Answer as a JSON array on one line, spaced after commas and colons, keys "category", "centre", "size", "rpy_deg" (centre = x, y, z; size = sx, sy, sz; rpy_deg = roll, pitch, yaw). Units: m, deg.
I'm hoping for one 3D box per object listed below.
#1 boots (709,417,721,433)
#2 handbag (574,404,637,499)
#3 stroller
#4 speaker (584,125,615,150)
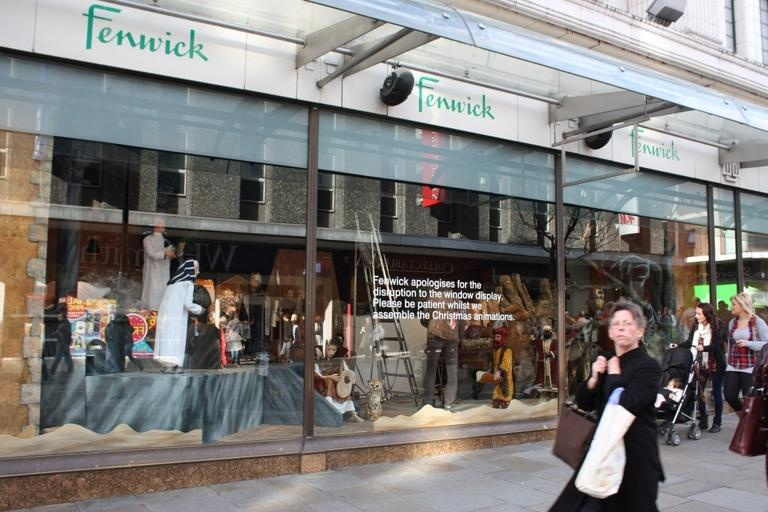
[{"category": "boots", "centre": [6.088, 3.107, 12.152], "size": [0.369, 0.247, 0.145], "rpy_deg": [16, -21, -39]}, {"category": "handbag", "centre": [2.112, 1.848, 6.364], "size": [0.519, 0.858, 0.220], "rpy_deg": [0, 2, -22]}, {"category": "stroller", "centre": [4.843, 2.293, 11.371], "size": [1.279, 1.550, 0.902], "rpy_deg": [-1, -1, -32]}, {"category": "speaker", "centre": [4.030, -2.162, 12.386], "size": [0.643, 0.353, 0.233], "rpy_deg": [0, 2, -31]}]
